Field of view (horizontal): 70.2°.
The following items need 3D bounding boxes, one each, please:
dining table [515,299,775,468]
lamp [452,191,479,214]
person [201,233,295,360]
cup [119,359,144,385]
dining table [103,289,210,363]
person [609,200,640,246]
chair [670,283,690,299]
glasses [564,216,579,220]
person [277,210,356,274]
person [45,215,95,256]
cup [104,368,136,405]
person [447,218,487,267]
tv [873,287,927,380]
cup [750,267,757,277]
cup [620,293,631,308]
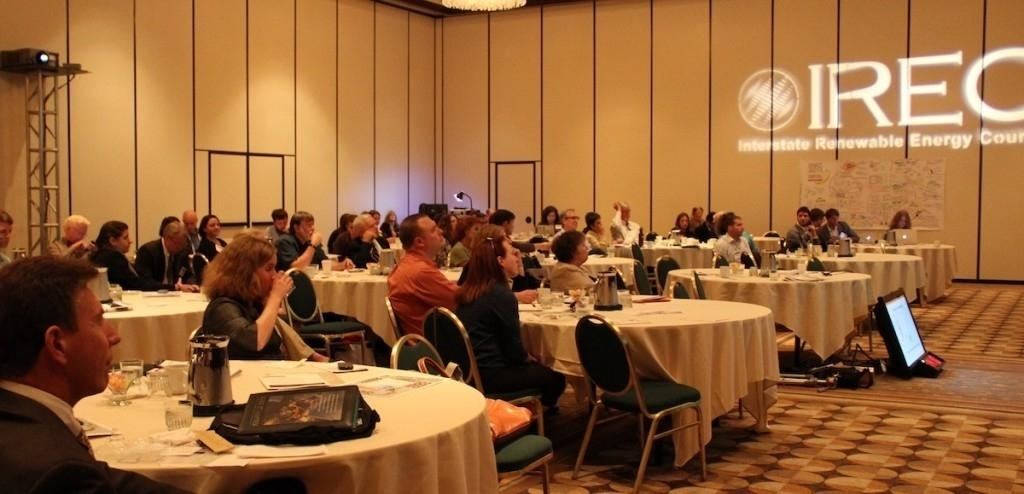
[{"bbox_3d":[2.144,1.343,9.138,2.417,1.117,2.488,-2,-3,39],"label":"dining table"},{"bbox_3d":[-1.295,-1.340,20.883,0.584,0.510,0.902,-5,6,-25],"label":"lamp"},{"bbox_3d":[-2.960,0.552,8.077,0.925,1.318,0.422,-1,6,10],"label":"person"},{"bbox_3d":[-3.984,1.318,7.660,0.270,0.261,0.255,2,5,0],"label":"cup"},{"bbox_3d":[-4.683,1.030,9.639,1.134,0.569,1.064,1,4,-11],"label":"dining table"},{"bbox_3d":[2.556,-0.521,16.463,0.586,0.860,1.254,-2,5,5],"label":"person"},{"bbox_3d":[2.411,0.627,10.445,0.259,0.213,0.156,-3,5,-12],"label":"chair"},{"bbox_3d":[1.197,-0.576,14.540,0.197,0.055,0.198,-8,-7,36],"label":"glasses"},{"bbox_3d":[-3.808,-0.103,12.677,1.447,1.057,1.010,-4,1,13],"label":"person"},{"bbox_3d":[-7.390,-0.176,12.094,0.711,0.670,0.727,2,6,-4],"label":"person"},{"bbox_3d":[-4.012,1.481,7.621,0.367,0.286,0.354,0,-4,0],"label":"cup"},{"bbox_3d":[-0.854,-0.150,12.182,0.777,1.084,1.067,1,3,3],"label":"person"},{"bbox_3d":[6.029,1.341,11.272,0.954,1.276,0.501,-7,7,-40],"label":"tv"},{"bbox_3d":[3.785,0.400,11.349,0.177,0.158,0.126,4,6,20],"label":"cup"},{"bbox_3d":[1.517,0.719,9.626,0.190,0.171,0.192,0,2,0],"label":"cup"}]
